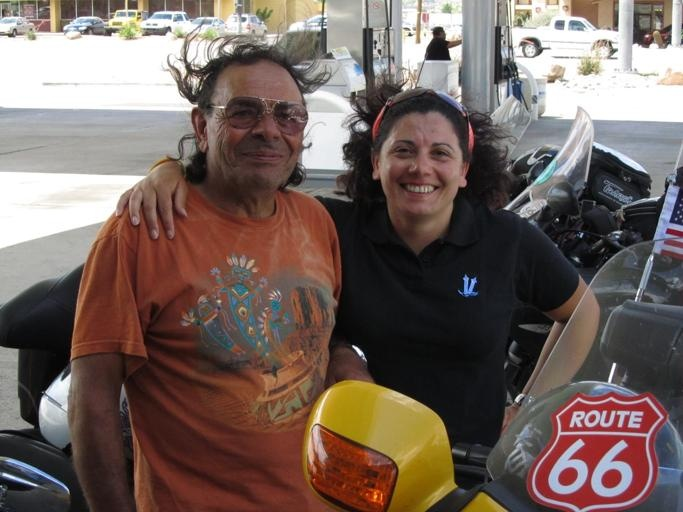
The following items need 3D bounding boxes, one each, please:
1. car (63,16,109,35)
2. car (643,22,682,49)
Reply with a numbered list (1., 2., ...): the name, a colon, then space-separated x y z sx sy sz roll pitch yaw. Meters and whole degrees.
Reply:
1. car: -18.768 -17.029 47.370 2.706 1.351 2.336 -6 15 -16
2. car: 20.656 -14.363 41.528 2.009 1.609 8.743 4 16 23
